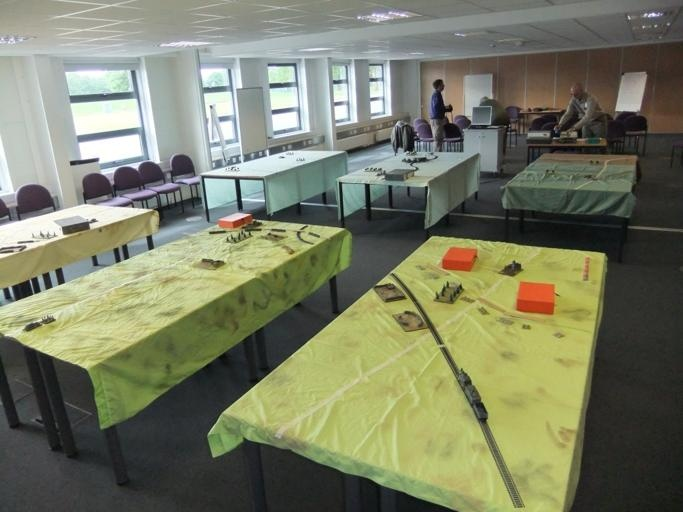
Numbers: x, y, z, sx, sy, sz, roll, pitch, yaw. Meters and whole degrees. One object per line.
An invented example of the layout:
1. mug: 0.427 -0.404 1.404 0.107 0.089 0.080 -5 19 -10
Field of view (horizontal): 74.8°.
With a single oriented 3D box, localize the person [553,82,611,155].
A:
1. person: 4.947 -2.972 9.112 0.851 1.066 2.543 6 21 26
